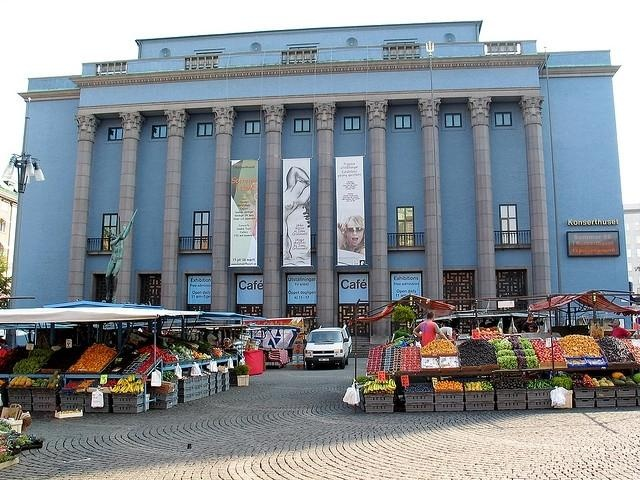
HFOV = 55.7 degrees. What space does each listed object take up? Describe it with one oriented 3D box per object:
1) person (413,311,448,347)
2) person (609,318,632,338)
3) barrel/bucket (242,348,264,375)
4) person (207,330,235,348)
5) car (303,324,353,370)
[{"bbox_3d":[3.372,2.693,18.654,0.894,0.959,1.315,-1,3,8],"label":"person"},{"bbox_3d":[9.433,2.847,19.055,0.515,0.586,1.303,0,3,26],"label":"person"},{"bbox_3d":[-3.110,5.526,27.709,0.804,0.934,1.391,-4,-5,16],"label":"barrel/bucket"},{"bbox_3d":[-5.118,4.976,30.642,1.163,0.645,1.539,1,-10,-6],"label":"person"},{"bbox_3d":[0.327,5.655,31.027,2.270,1.946,2.316,-2,2,-2],"label":"car"}]
